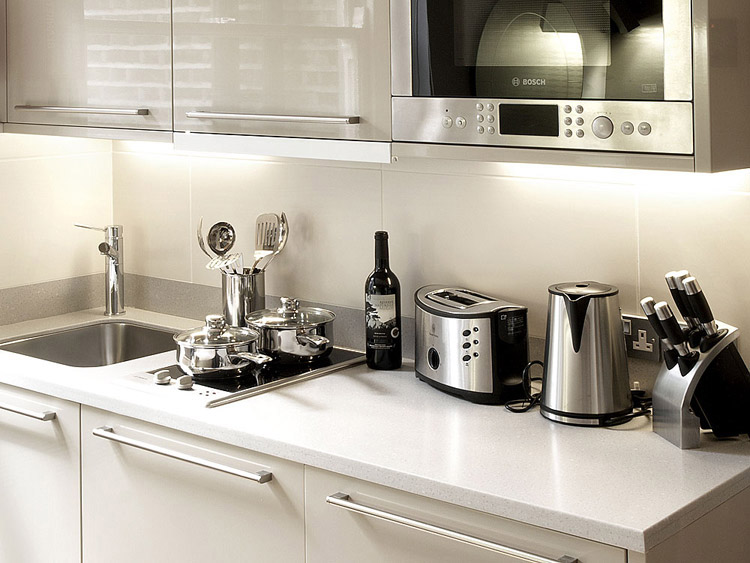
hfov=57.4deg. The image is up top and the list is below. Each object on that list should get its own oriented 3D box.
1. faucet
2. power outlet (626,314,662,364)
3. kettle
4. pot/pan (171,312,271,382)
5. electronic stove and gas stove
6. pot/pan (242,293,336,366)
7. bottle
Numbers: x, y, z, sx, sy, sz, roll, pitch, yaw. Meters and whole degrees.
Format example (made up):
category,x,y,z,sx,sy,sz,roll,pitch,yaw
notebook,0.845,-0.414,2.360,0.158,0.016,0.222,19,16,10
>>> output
category,x,y,z,sx,sy,sz,roll,pitch,yaw
faucet,-1.053,-0.055,2.682,0.152,0.338,0.225,-11,15,-40
power outlet,0.664,0.138,1.692,0.013,0.127,0.126,-9,11,-32
kettle,0.495,0.163,1.611,0.227,0.319,0.286,0,5,27
pot/pan,-0.440,0.187,1.969,0.287,0.162,0.209,-2,12,-1
electronic stove and gas stove,-0.345,0.259,1.911,0.498,0.069,0.511,5,10,23
pot/pan,-0.263,0.138,2.075,0.204,0.221,0.220,10,15,42
bottle,0.030,0.048,1.988,0.111,0.373,0.122,0,5,0
